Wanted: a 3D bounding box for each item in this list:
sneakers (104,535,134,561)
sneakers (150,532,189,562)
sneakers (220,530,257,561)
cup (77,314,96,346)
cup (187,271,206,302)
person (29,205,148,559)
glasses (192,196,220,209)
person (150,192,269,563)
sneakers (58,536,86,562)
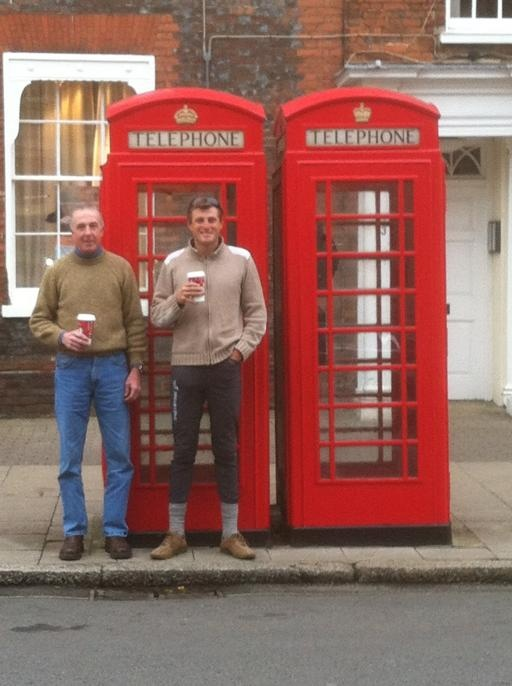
[{"bbox_3d":[-0.712,1.050,5.221,0.064,0.095,0.182,0,-4,-24],"label":"sneakers"},{"bbox_3d":[-0.441,1.043,5.175,0.077,0.118,0.242,-3,-6,32],"label":"sneakers"},{"bbox_3d":[-0.100,1.050,5.234,0.081,0.107,0.224,0,-4,-35],"label":"sneakers"},{"bbox_3d":[-0.856,-0.071,5.067,0.095,0.148,0.182,0,5,-11],"label":"cup"},{"bbox_3d":[-0.291,-0.277,4.992,0.118,0.219,0.112,-1,6,0],"label":"cup"},{"bbox_3d":[-0.875,0.201,5.200,0.593,1.774,0.331,0,4,-8],"label":"person"},{"bbox_3d":[-0.251,-0.693,5.047,0.142,0.063,0.099,0,5,-2],"label":"glasses"},{"bbox_3d":[-0.235,0.188,5.152,0.609,1.826,0.430,-1,4,-20],"label":"person"},{"bbox_3d":[-0.951,1.047,5.172,0.123,0.108,0.195,-1,5,-11],"label":"sneakers"}]
